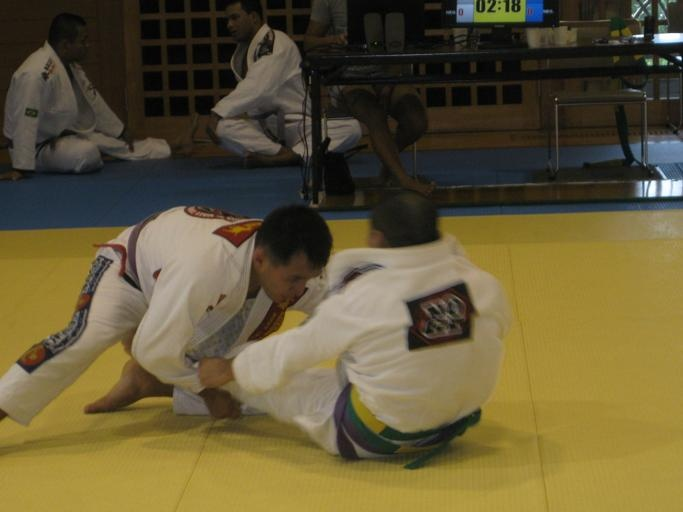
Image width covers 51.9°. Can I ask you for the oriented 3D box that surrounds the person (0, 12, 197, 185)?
[{"bbox_3d":[-1.564,-0.755,4.793,1.073,1.076,1.407,2,32,-7],"label":"person"}]

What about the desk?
[{"bbox_3d":[0.751,-0.722,3.656,1.904,0.783,1.061,-2,17,-3],"label":"desk"}]
